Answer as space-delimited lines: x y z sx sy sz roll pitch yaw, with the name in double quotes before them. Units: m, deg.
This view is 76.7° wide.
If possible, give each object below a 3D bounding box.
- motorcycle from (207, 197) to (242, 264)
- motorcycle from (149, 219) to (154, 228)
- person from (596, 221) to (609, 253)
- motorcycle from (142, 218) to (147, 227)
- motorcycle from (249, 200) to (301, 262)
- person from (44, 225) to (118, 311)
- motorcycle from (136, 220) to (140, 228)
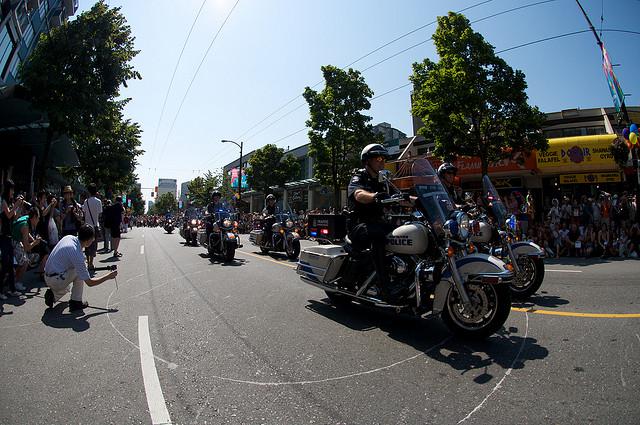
"motorcycle" -3.115 0.613 14.072 0.979 1.454 2.371 1 -3 -25
"motorcycle" -28.076 1.735 67.447 0.500 1.203 1.939 -1 -2 -26
"person" 10.079 0.926 14.310 0.359 1.130 0.250 -2 -1 -4
"motorcycle" -32.046 1.901 73.948 0.635 1.074 2.059 -1 -2 -24
"motorcycle" -1.774 0.577 15.234 1.124 1.937 3.231 2 0 -35
"person" -4.887 1.072 8.003 1.259 1.616 0.621 -3 -2 20
"motorcycle" -35.603 2.213 78.996 0.552 1.807 0.502 -15 26 -33
